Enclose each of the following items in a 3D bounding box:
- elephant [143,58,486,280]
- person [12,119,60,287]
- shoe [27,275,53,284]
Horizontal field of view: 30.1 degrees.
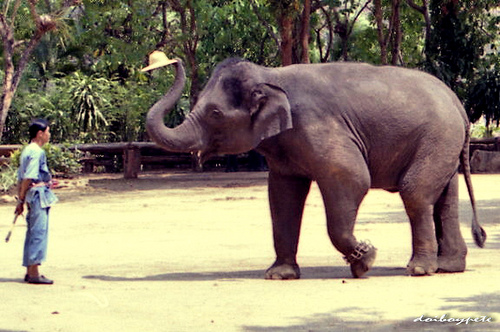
[{"bbox_3d":[1.402,0.041,18.713,6.905,4.242,2.529,2,0,-3],"label":"elephant"},{"bbox_3d":[-4.192,0.696,18.343,0.765,3.259,0.420,5,-4,-15],"label":"person"},{"bbox_3d":[-4.077,2.241,18.230,0.485,0.169,0.175,0,-1,1],"label":"shoe"}]
